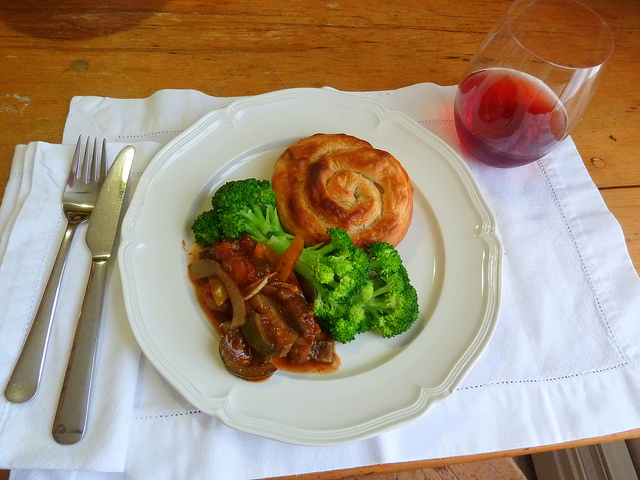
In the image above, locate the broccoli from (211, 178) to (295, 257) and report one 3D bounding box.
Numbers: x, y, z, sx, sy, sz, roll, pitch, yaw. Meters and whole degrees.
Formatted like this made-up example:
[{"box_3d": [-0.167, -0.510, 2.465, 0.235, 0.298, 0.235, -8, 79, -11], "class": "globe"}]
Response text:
[{"box_3d": [-0.484, -0.103, 3.587, 0.544, 0.279, 0.376, 39, 53, 0], "class": "broccoli"}]
